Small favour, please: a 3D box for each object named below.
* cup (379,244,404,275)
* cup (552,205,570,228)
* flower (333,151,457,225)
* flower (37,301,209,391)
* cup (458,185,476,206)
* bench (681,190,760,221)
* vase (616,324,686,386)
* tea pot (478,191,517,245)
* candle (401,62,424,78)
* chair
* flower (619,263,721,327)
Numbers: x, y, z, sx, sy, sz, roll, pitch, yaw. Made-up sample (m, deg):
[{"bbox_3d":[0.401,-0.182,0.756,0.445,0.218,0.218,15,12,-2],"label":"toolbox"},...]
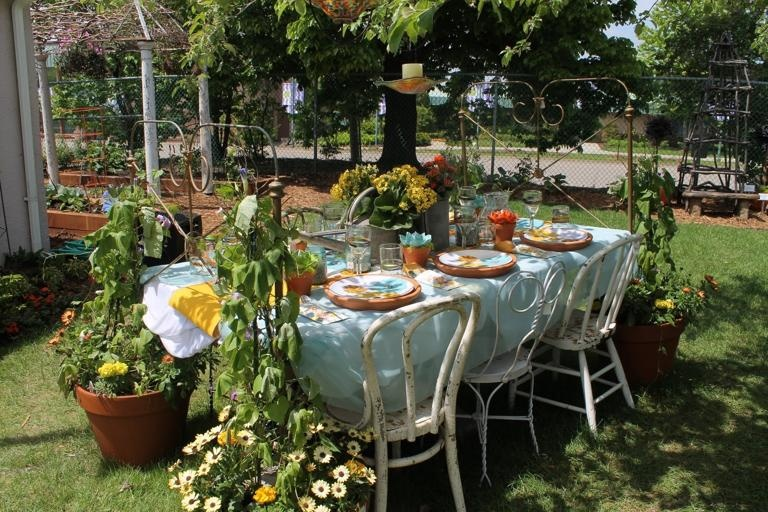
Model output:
[{"bbox_3d":[0.048,0.010,3.926,0.167,0.194,0.165,-1,14,0],"label":"cup"},{"bbox_3d":[1.393,-0.327,4.781,0.117,0.144,0.150,-16,19,-41],"label":"cup"},{"bbox_3d":[0.053,-0.461,4.151,0.862,0.465,0.352,1,12,6],"label":"flower"},{"bbox_3d":[-1.755,0.647,4.045,0.736,0.422,0.714,7,1,-17],"label":"flower"},{"bbox_3d":[0.626,-0.480,4.566,0.137,0.160,0.138,-1,15,0],"label":"cup"},{"bbox_3d":[5.284,-0.826,9.430,1.042,0.413,0.556,5,12,24],"label":"bench"},{"bbox_3d":[2.061,0.736,4.737,0.497,0.409,0.515,0,11,16],"label":"vase"},{"bbox_3d":[0.869,-0.302,4.499,0.346,0.448,0.360,-4,8,1],"label":"tea pot"},{"bbox_3d":[0.176,-1.211,3.833,0.124,0.097,0.128,4,20,4],"label":"candle"},{"bbox_3d":[0.629,0.738,3.891,1.516,0.930,0.531,-17,27,-34],"label":"chair"},{"bbox_3d":[2.237,0.345,4.771,0.600,0.297,0.606,-17,15,-28],"label":"flower"}]
